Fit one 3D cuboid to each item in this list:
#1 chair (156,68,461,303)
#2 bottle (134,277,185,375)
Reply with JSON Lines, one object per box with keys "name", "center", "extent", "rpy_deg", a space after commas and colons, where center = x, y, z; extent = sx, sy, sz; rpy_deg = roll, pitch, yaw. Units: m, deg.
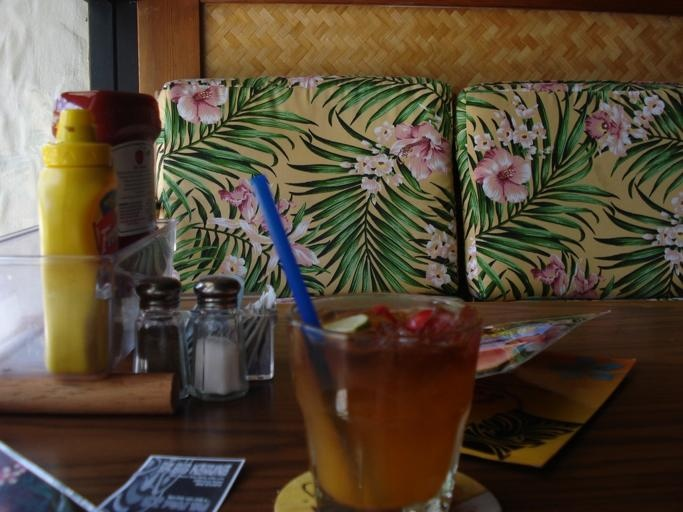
{"name": "chair", "center": [-0.092, -0.198, 1.783], "extent": [0.841, 0.590, 0.269], "rpy_deg": [-1, 15, -6]}
{"name": "bottle", "center": [-0.254, 0.113, 0.875], "extent": [0.071, 0.195, 0.070], "rpy_deg": [7, 24, -3]}
